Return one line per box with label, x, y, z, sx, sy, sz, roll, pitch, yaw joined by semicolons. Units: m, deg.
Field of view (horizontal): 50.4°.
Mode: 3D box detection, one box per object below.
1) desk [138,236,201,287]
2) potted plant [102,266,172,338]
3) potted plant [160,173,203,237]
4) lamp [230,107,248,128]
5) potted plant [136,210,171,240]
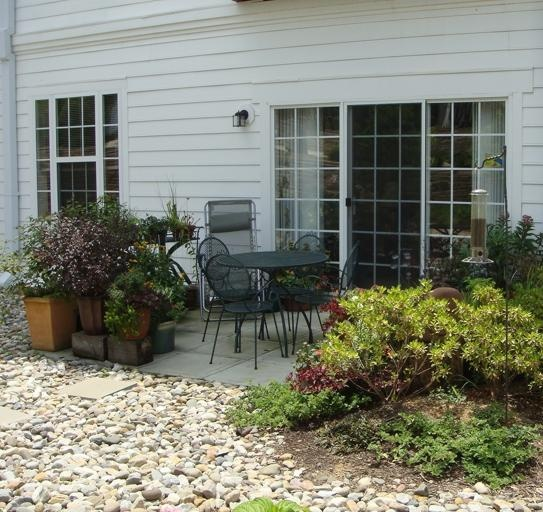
desk;-1.121;0.071;6.422;0.674;0.712;0.638;-3;6;6
potted plant;-1.061;0.388;4.627;0.524;0.548;0.385;0;2;-20
potted plant;-1.040;-0.547;6.791;0.423;0.746;0.770;0;2;-11
lamp;-0.341;-1.556;6.451;0.176;0.192;0.091;0;2;0
potted plant;-1.261;-0.333;6.205;0.325;0.216;0.340;1;10;7
